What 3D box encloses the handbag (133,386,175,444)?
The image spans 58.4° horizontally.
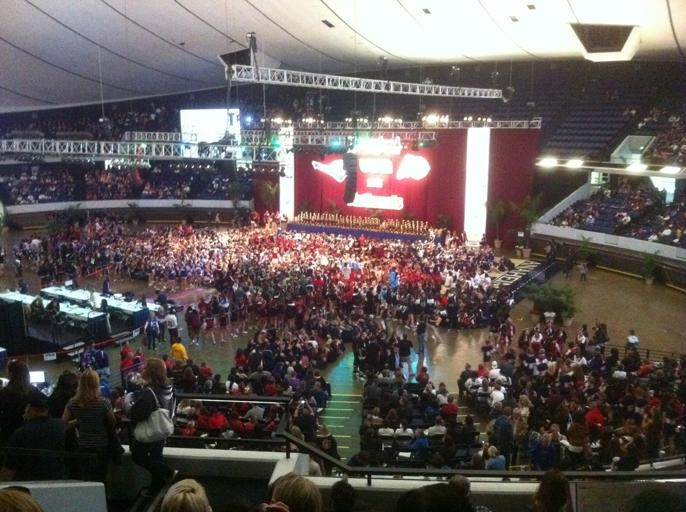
[{"bbox_3d":[-2.506,2.107,8.139,0.489,0.733,0.203,4,4,-21],"label":"handbag"}]
